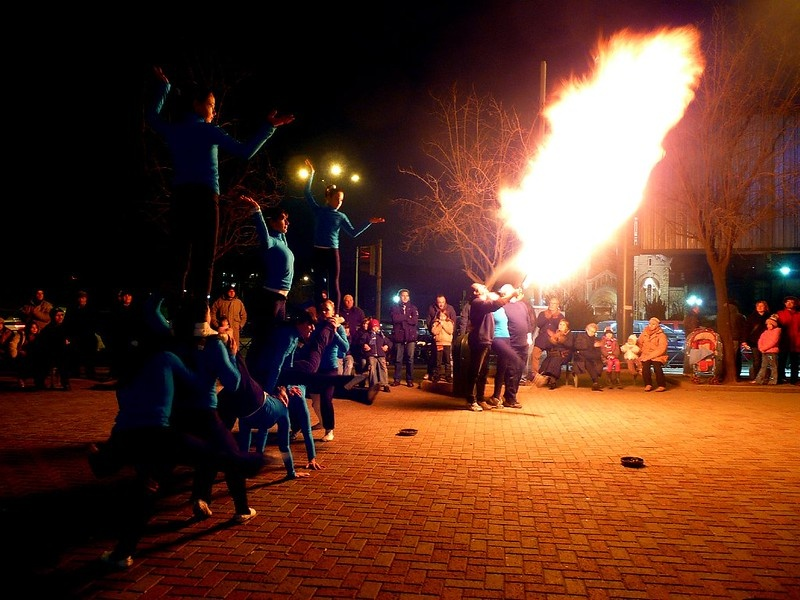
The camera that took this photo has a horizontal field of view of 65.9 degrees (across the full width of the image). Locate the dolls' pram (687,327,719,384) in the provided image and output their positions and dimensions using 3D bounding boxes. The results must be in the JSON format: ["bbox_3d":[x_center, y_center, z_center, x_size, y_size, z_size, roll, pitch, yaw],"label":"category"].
[{"bbox_3d":[8.432,1.577,17.032,0.925,1.569,0.846,-8,-21,43],"label":"dolls' pram"}]

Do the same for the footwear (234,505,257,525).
[{"bbox_3d":[-1.786,2.481,7.115,0.101,0.116,0.283,2,4,16],"label":"footwear"}]

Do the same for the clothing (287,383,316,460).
[{"bbox_3d":[-1.460,1.747,8.782,0.706,1.063,0.267,6,-11,-38],"label":"clothing"}]

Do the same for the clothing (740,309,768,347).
[{"bbox_3d":[9.503,0.762,16.579,0.326,0.967,0.657,11,-1,-28],"label":"clothing"}]

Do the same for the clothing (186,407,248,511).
[{"bbox_3d":[-1.953,1.772,6.658,0.333,1.212,0.997,-3,0,-26],"label":"clothing"}]

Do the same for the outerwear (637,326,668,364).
[{"bbox_3d":[6.612,1.168,16.240,0.712,0.961,0.578,5,4,40],"label":"outerwear"}]

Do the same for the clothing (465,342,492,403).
[{"bbox_3d":[1.759,1.532,13.248,0.350,1.396,0.342,8,-5,-9],"label":"clothing"}]

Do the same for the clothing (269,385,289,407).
[{"bbox_3d":[-1.620,1.290,8.338,0.249,0.196,0.223,29,-53,-26],"label":"clothing"}]

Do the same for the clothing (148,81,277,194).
[{"bbox_3d":[-2.402,-2.022,7.618,1.312,1.396,0.604,2,4,19],"label":"clothing"}]

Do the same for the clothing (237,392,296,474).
[{"bbox_3d":[-1.607,1.742,8.036,0.358,0.774,0.730,15,-4,-27],"label":"clothing"}]

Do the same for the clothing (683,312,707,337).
[{"bbox_3d":[8.950,0.733,18.727,0.380,0.714,0.730,-3,3,3],"label":"clothing"}]

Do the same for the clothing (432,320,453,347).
[{"bbox_3d":[1.163,0.889,16.865,0.716,0.909,0.569,-1,-12,8],"label":"clothing"}]

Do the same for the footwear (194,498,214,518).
[{"bbox_3d":[-2.326,2.458,7.269,0.130,0.128,0.284,2,-4,-8],"label":"footwear"}]

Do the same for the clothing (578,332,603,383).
[{"bbox_3d":[5.117,1.535,16.595,0.687,1.283,0.407,-7,-8,4],"label":"clothing"}]

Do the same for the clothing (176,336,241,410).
[{"bbox_3d":[-1.984,0.786,6.677,0.613,0.848,0.693,10,10,27],"label":"clothing"}]

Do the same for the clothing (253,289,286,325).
[{"bbox_3d":[-1.903,0.099,8.910,0.539,0.624,0.520,3,-12,-16],"label":"clothing"}]

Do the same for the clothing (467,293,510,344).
[{"bbox_3d":[1.851,0.402,12.905,0.687,1.046,0.674,-9,15,-19],"label":"clothing"}]
